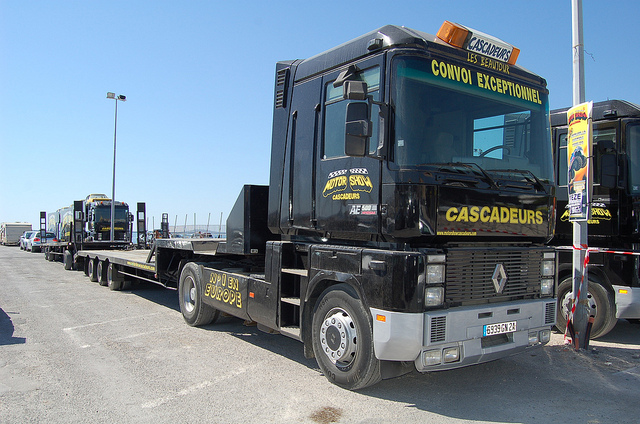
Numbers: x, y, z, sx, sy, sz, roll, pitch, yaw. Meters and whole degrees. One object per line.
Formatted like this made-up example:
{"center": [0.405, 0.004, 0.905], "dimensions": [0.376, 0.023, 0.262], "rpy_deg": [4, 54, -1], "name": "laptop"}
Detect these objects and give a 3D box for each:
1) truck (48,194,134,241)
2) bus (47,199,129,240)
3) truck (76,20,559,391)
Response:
{"center": [-11.996, 0.460, 24.929], "dimensions": [2.074, 3.032, 7.053], "rpy_deg": [2, -6, -34], "name": "truck"}
{"center": [-12.202, 0.460, 25.139], "dimensions": [1.872, 2.738, 6.469], "rpy_deg": [2, -5, -35], "name": "bus"}
{"center": [-0.381, -0.117, 9.619], "dimensions": [2.705, 3.508, 9.010], "rpy_deg": [1, 0, -33], "name": "truck"}
